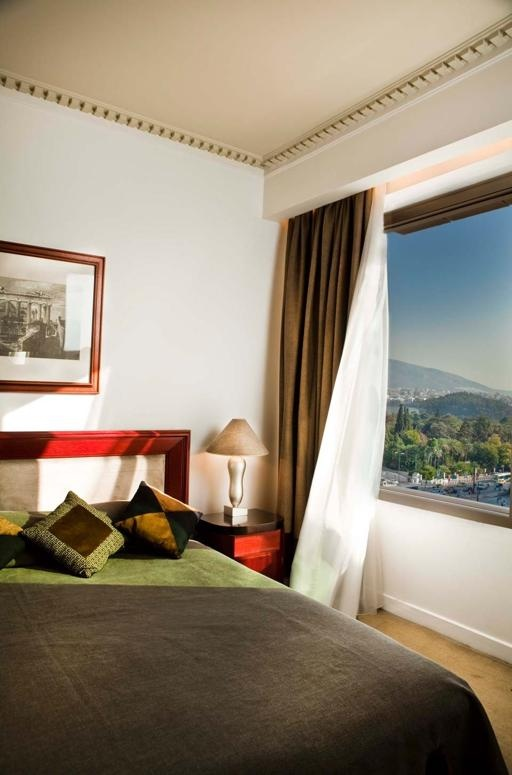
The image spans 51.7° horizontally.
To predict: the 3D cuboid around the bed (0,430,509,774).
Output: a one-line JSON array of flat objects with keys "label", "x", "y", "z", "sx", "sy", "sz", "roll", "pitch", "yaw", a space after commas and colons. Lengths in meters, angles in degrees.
[{"label": "bed", "x": -0.340, "y": 0.576, "z": 1.736, "sx": 1.076, "sy": 0.702, "sz": 1.089, "roll": -2, "pitch": 6, "yaw": -26}]
